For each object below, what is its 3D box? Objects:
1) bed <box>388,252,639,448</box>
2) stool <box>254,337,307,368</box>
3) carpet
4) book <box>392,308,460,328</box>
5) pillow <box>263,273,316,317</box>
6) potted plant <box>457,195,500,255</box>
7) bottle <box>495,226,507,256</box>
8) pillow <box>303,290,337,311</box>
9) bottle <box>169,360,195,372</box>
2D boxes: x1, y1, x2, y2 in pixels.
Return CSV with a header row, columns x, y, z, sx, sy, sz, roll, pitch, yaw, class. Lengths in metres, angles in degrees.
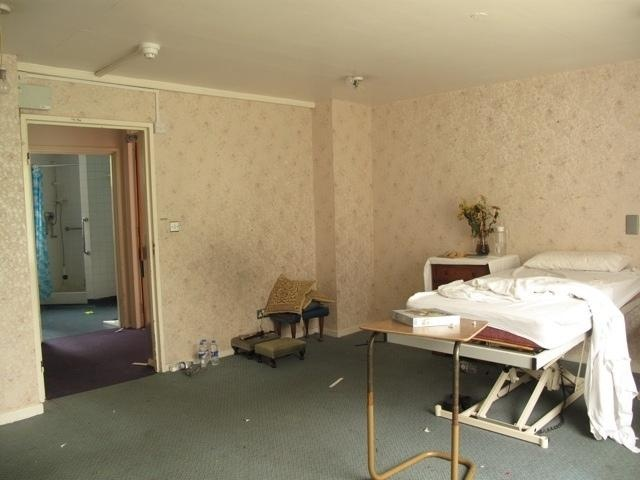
x,y,z,sx,sy,sz,roll,pitch,yaw,class
1.984,0.753,4.392,1.638,1.021,2.058,1,2,40,bed
-0.458,1.277,5.834,0.598,0.229,0.549,-4,6,-12,stool
-2.804,1.520,5.987,0.917,0.985,0.047,4,-6,-39,carpet
0.747,0.544,3.571,0.452,0.076,0.279,-2,6,0,book
-0.392,0.687,6.258,0.540,0.471,0.463,1,7,28,pillow
1.945,-0.172,6.116,0.545,0.687,0.523,-4,14,-8,potted plant
2.078,0.012,5.866,0.118,0.314,0.098,-1,7,17,bottle
0.014,0.749,6.399,0.298,0.084,0.268,11,-4,-37,pillow
-1.549,1.404,5.688,0.196,0.078,0.109,1,0,-35,bottle
